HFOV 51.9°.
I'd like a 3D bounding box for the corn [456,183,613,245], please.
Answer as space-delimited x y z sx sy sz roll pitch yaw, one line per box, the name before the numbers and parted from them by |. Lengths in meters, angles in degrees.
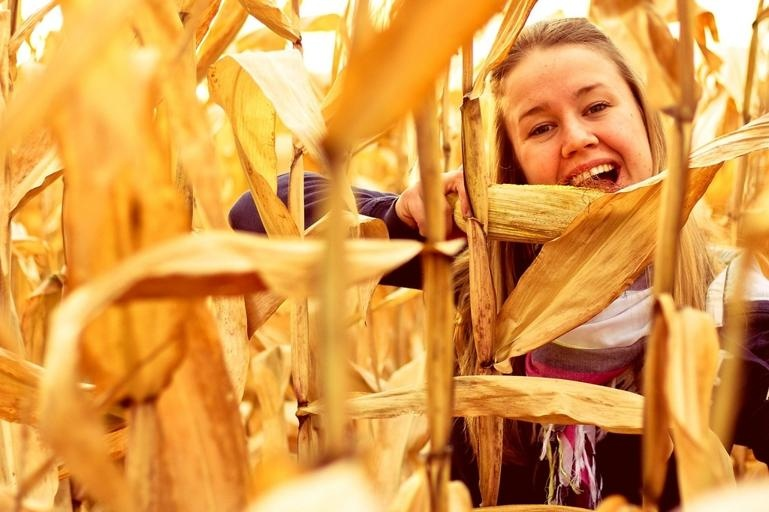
corn | 0.160 -0.049 0.851 0.160 0.054 0.054 4 20 31
